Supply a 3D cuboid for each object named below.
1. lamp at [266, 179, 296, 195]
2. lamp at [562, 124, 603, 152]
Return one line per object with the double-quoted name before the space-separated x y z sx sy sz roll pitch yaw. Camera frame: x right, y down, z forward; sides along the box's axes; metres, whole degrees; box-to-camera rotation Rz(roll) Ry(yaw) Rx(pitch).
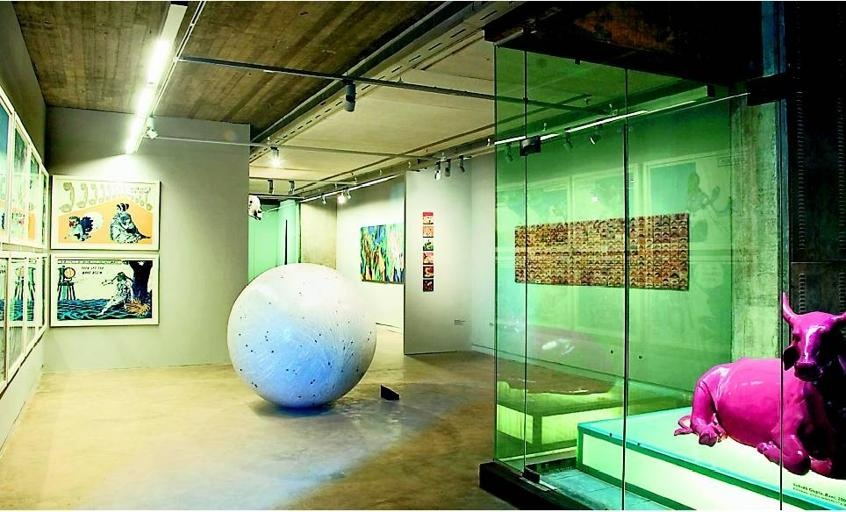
"lamp" -4.332 -2.083 17.069 0.873 0.291 3.202 0 3 -14
"lamp" 1.169 -0.883 4.203 0.373 0.143 0.085 5 8 37
